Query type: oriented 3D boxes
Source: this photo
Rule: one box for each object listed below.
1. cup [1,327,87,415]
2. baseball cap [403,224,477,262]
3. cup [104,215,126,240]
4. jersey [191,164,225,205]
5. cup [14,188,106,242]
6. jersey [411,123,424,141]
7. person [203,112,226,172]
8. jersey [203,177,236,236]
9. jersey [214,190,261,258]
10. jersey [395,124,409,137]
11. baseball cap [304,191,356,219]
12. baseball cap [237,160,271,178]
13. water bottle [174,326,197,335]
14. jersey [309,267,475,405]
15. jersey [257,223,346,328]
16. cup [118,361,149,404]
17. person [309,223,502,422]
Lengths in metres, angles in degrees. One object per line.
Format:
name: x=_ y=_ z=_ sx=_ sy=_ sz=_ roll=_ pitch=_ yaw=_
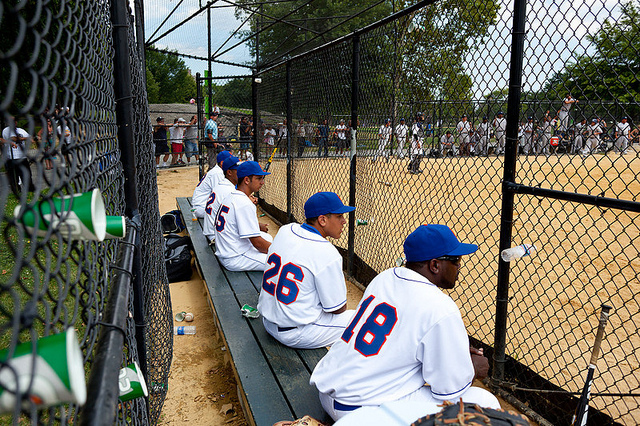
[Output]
cup: x=-1.012 y=0.531 z=1.997 sx=0.379 sy=0.299 sz=0.294 roll=-7 pitch=-3 yaw=-29
baseball cap: x=0.857 y=0.177 z=3.720 sx=0.521 sy=0.234 sz=0.361 roll=-7 pitch=3 yaw=12
cup: x=-0.955 y=0.067 z=2.445 sx=0.080 sy=0.107 sz=0.096 roll=-2 pitch=13 yaw=-17
jersey: x=-1.825 y=-0.462 z=8.544 sx=0.311 sy=0.624 sz=0.635 roll=-31 pitch=29 yaw=-35
cup: x=-1.054 y=0.070 z=2.181 sx=0.330 sy=0.231 sz=0.227 roll=19 pitch=7 yaw=-25
jersey: x=1.278 y=-1.073 z=6.865 sx=0.088 sy=0.334 sz=0.122 roll=4 pitch=4 yaw=28
person: x=-2.655 y=-1.782 z=13.211 sx=0.458 sy=1.526 sz=0.590 roll=5 pitch=20 yaw=-4
jersey: x=-1.288 y=-0.088 z=6.790 sx=0.379 sy=0.769 sz=0.662 roll=16 pitch=3 yaw=-16
jersey: x=-0.991 y=0.143 z=6.214 sx=0.377 sy=0.759 sz=0.692 roll=-3 pitch=8 yaw=-29
jersey: x=1.066 y=-1.081 z=6.846 sx=0.198 sy=0.164 sz=0.197 roll=0 pitch=-7 yaw=5
baseball cap: x=0.089 y=-0.071 z=4.716 sx=0.462 sy=0.264 sz=0.314 roll=0 pitch=-1 yaw=12
baseball cap: x=-0.849 y=-0.551 z=6.487 sx=0.343 sy=0.213 sz=0.254 roll=0 pitch=13 yaw=-9
water bottle: x=-1.465 y=1.253 z=5.676 sx=0.158 sy=0.045 sz=0.107 roll=14 pitch=31 yaw=-17
jersey: x=0.468 y=0.846 z=3.520 sx=0.918 sy=0.756 sz=0.817 roll=-5 pitch=13 yaw=-20
jersey: x=-0.222 y=0.567 z=4.609 sx=0.860 sy=0.919 sz=0.562 roll=20 pitch=22 yaw=38
cup: x=-0.977 y=0.857 z=2.724 sx=0.126 sy=0.153 sz=0.224 roll=-3 pitch=14 yaw=-21
person: x=0.629 y=0.830 z=3.955 sx=1.016 sy=1.598 sz=1.021 roll=-3 pitch=16 yaw=-18
